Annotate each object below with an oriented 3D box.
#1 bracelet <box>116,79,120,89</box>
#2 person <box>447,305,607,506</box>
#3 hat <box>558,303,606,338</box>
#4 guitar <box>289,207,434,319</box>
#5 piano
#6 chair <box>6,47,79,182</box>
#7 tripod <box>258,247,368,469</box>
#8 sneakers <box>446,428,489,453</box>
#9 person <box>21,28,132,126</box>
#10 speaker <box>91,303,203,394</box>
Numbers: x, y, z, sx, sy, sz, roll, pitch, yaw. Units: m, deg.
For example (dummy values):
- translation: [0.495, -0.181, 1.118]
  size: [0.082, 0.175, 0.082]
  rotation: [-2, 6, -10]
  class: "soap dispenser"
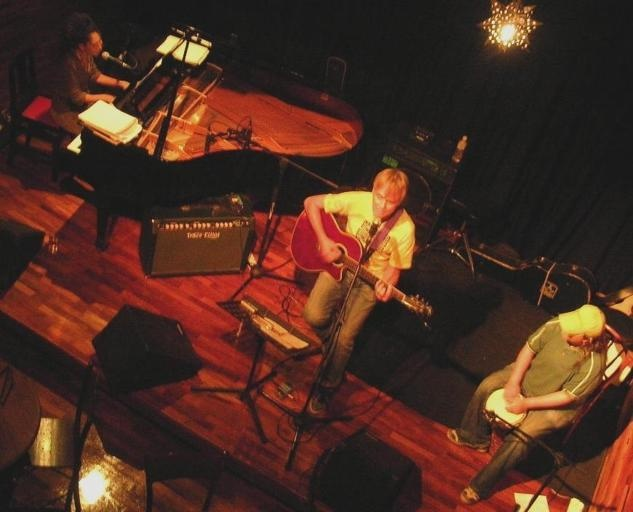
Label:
- translation: [-2.179, -1.875, 6.221]
  size: [0.039, 0.089, 0.011]
  rotation: [-2, 10, -13]
  class: "bracelet"
- translation: [1.920, 1.435, 5.167]
  size: [0.928, 1.654, 0.688]
  rotation: [-3, 47, -51]
  class: "person"
- translation: [2.210, 0.544, 4.731]
  size: [0.318, 0.252, 0.187]
  rotation: [-2, 4, 26]
  class: "hat"
- translation: [0.356, 0.193, 5.290]
  size: [1.586, 0.737, 0.251]
  rotation: [45, 20, 15]
  class: "guitar"
- translation: [-1.125, -1.153, 6.500]
  size: [2.566, 2.196, 1.831]
  rotation: [11, -18, -15]
  class: "piano"
- translation: [-2.866, -1.418, 5.954]
  size: [0.663, 1.158, 0.663]
  rotation: [21, 50, -6]
  class: "chair"
- translation: [0.049, 0.921, 4.807]
  size: [0.600, 1.977, 0.249]
  rotation: [25, -14, -23]
  class: "tripod"
- translation: [1.408, 1.740, 5.351]
  size: [0.333, 0.106, 0.198]
  rotation: [22, 44, 9]
  class: "sneakers"
- translation: [-2.472, -1.827, 5.934]
  size: [0.616, 1.029, 0.701]
  rotation: [18, 37, -19]
  class: "person"
- translation: [-1.447, 0.853, 5.037]
  size: [0.758, 0.496, 0.772]
  rotation: [10, 28, -50]
  class: "speaker"
